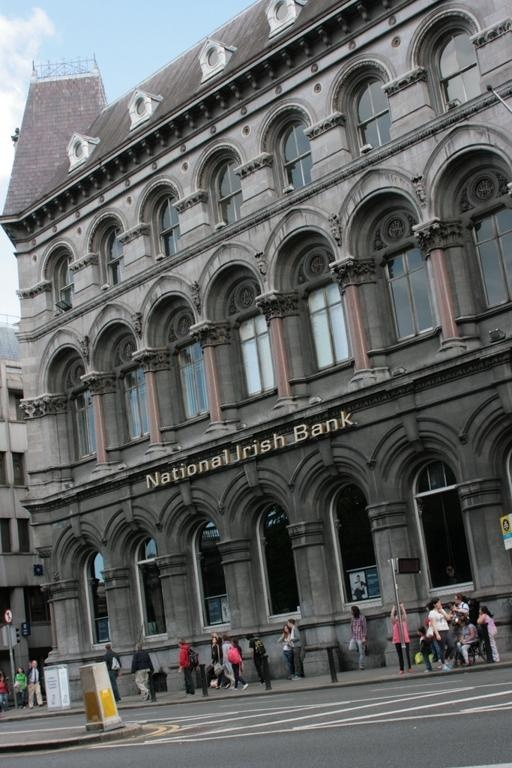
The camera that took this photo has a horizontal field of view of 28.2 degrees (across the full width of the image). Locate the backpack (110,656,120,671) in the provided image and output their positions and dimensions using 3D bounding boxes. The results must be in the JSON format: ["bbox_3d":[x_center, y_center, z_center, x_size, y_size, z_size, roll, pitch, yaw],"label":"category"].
[{"bbox_3d":[-3.900,7.803,28.515,0.200,0.406,0.389,-17,-13,19],"label":"backpack"}]

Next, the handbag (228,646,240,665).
[{"bbox_3d":[-0.523,6.857,25.783,0.299,0.495,0.515,-12,-12,0],"label":"handbag"}]

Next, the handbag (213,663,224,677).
[{"bbox_3d":[-0.957,7.750,27.714,0.282,0.137,0.350,-11,-32,16],"label":"handbag"}]
